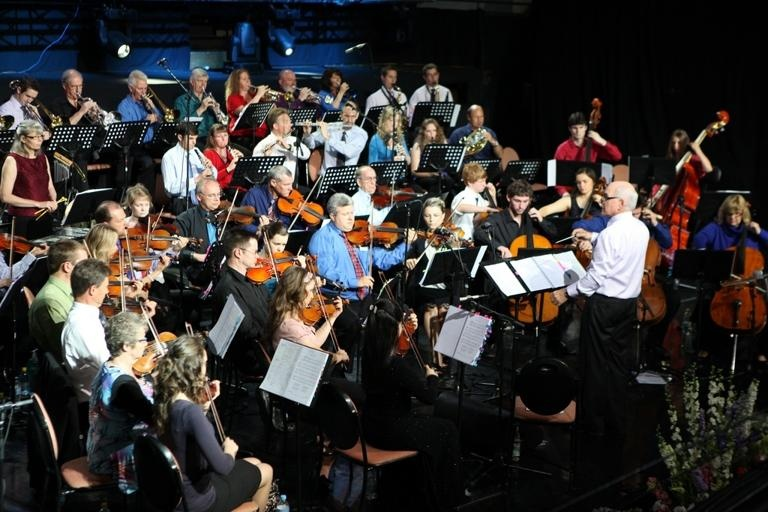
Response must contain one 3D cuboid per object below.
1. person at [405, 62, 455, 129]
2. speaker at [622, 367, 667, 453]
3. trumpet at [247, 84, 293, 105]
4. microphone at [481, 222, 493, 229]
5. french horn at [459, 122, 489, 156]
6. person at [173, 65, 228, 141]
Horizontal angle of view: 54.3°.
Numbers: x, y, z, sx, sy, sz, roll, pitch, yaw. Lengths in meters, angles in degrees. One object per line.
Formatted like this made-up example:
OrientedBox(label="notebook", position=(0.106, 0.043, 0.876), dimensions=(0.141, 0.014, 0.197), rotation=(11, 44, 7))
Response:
OrientedBox(label="person", position=(0.993, -3.074, 15.000), dimensions=(0.931, 1.388, 0.778), rotation=(-8, 6, -20))
OrientedBox(label="speaker", position=(2.998, 1.754, 8.640), dimensions=(0.573, 0.285, 1.238), rotation=(-1, 26, 17))
OrientedBox(label="trumpet", position=(-2.043, -2.896, 13.461), dimensions=(0.330, 0.272, 1.385), rotation=(-9, 15, -26))
OrientedBox(label="microphone", position=(1.268, -0.379, 9.400), dimensions=(0.100, 0.048, 0.156), rotation=(-1, 6, 2))
OrientedBox(label="french horn", position=(1.562, -1.987, 12.989), dimensions=(0.591, 0.408, 0.152), rotation=(-31, -5, 2))
OrientedBox(label="person", position=(-3.226, -2.621, 12.794), dimensions=(0.633, 1.668, 0.518), rotation=(-18, -23, 28))
